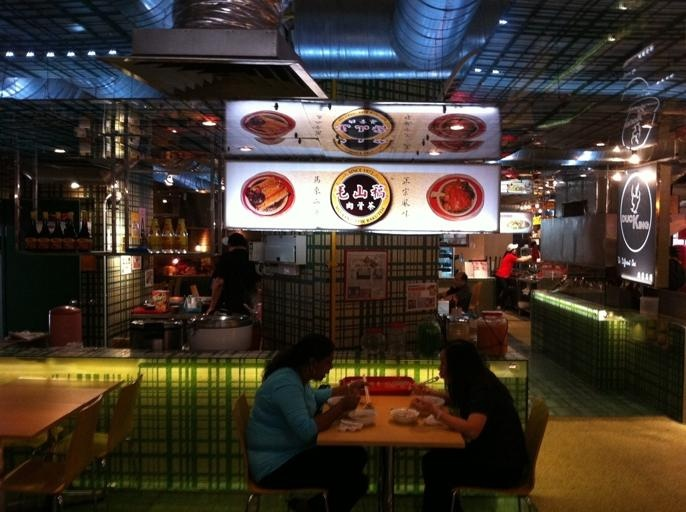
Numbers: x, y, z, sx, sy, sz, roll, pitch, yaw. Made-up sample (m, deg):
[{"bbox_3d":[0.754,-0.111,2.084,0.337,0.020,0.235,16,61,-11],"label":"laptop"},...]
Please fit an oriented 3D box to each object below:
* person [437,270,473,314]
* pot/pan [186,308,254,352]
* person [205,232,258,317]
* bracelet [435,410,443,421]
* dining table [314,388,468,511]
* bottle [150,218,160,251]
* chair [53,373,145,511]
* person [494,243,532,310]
[{"bbox_3d":[1.629,0.651,8.634,0.492,0.792,0.360,1,8,2],"label":"person"},{"bbox_3d":[-1.095,0.744,5.350,0.530,0.320,0.531,-3,-3,21],"label":"pot/pan"},{"bbox_3d":[-1.129,0.204,5.848,0.277,0.799,0.591,10,16,36],"label":"person"},{"bbox_3d":[0.658,1.089,4.032,0.016,0.054,0.058,12,23,-40],"label":"bracelet"},{"bbox_3d":[0.333,1.367,3.995,0.830,0.742,0.807,0,-2,2],"label":"dining table"},{"bbox_3d":[-1.863,-0.210,5.860,0.110,0.263,0.470,-4,13,-18],"label":"bottle"},{"bbox_3d":[-1.960,1.444,4.599,0.502,0.799,0.417,5,-6,-15],"label":"chair"},{"bbox_3d":[3.856,0.404,13.419,0.685,1.344,2.292,5,13,17],"label":"person"}]
